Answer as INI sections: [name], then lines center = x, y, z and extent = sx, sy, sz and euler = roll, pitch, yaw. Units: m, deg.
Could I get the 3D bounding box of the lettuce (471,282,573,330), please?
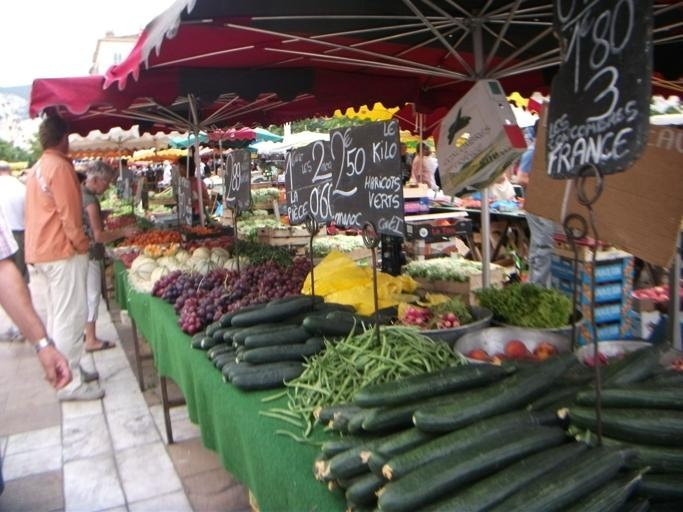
[lettuce]
center = 1.256, 0.285, 3.548
extent = 0.517, 0.290, 0.520
euler = 17, 10, 30

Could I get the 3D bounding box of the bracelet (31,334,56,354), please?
[bracelet]
center = -1.620, 0.480, 2.781
extent = 0.100, 0.065, 0.091
euler = -32, -4, -37

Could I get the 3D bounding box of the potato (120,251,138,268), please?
[potato]
center = -2.428, 0.028, 5.846
extent = 0.202, 0.090, 0.261
euler = -25, 24, 1

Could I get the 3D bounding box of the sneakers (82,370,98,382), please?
[sneakers]
center = -2.948, 1.415, 6.024
extent = 0.162, 0.079, 0.169
euler = 13, -7, -29

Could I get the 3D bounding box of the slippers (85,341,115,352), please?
[slippers]
center = -3.306, 1.241, 7.008
extent = 0.280, 0.076, 0.126
euler = -6, 18, -28

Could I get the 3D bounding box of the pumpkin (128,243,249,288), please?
[pumpkin]
center = -1.606, 0.057, 5.094
extent = 1.317, 0.423, 0.887
euler = -2, 10, -16

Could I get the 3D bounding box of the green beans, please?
[green beans]
center = 0.194, 0.562, 2.900
extent = 1.042, 0.463, 0.991
euler = 1, 10, 12

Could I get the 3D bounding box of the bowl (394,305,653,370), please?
[bowl]
center = 0.990, 0.467, 2.932
extent = 0.676, 0.178, 0.678
euler = -1, -2, 0

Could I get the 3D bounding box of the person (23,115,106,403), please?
[person]
center = -2.978, -0.010, 5.543
extent = 0.775, 2.996, 0.903
euler = -3, 2, -34
